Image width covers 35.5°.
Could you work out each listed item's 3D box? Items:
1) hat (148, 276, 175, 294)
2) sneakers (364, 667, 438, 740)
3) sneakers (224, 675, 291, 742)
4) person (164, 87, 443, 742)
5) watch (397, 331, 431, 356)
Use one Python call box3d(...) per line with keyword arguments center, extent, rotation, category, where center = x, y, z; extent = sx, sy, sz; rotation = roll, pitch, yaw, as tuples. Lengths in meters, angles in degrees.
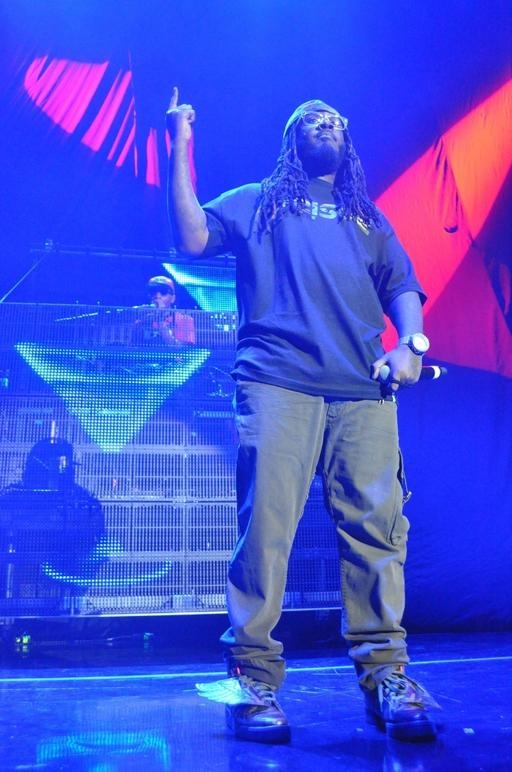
box3d(center=(-0.395, -0.420, 3.295), extent=(0.072, 0.076, 0.099), rotation=(3, -18, 3), category="hat")
box3d(center=(0.256, 0.552, 1.395), extent=(0.114, 0.098, 0.159), rotation=(1, -13, -5), category="sneakers")
box3d(center=(0.002, 0.556, 1.383), extent=(0.091, 0.091, 0.143), rotation=(3, -13, -11), category="sneakers")
box3d(center=(0.087, -0.011, 1.585), extent=(0.494, 1.285, 0.309), rotation=(-2, -13, 11), category="person")
box3d(center=(0.321, -0.086, 1.619), extent=(0.044, 0.028, 0.052), rotation=(29, -5, -19), category="watch")
